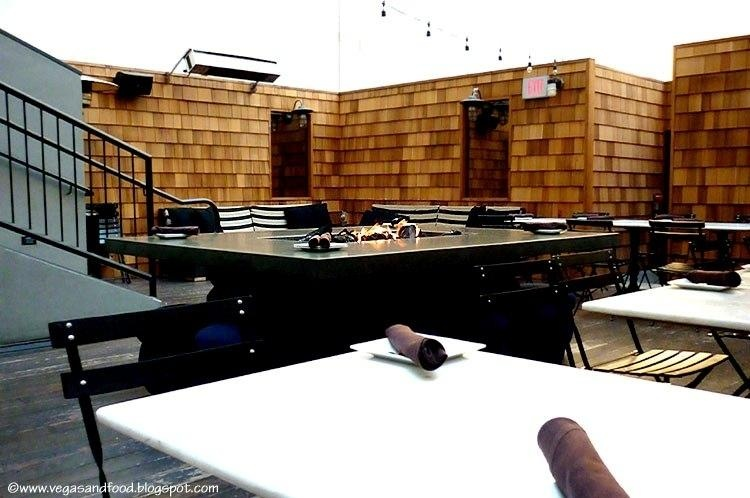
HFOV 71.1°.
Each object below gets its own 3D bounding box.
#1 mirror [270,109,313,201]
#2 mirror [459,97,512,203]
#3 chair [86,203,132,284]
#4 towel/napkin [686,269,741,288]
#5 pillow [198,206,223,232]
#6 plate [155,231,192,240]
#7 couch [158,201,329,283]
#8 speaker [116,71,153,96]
[{"bbox_3d":[-1.993,-2.103,12.017,0.967,2.448,0.561,-3,8,0],"label":"mirror"},{"bbox_3d":[2.773,-2.096,11.421,0.288,2.318,1.342,5,9,40],"label":"mirror"},{"bbox_3d":[-3.313,-0.101,6.490,0.588,1.112,0.662,-4,10,-32],"label":"chair"},{"bbox_3d":[1.639,0.138,2.544,0.203,0.092,0.136,1,10,17],"label":"towel/napkin"},{"bbox_3d":[-2.511,-0.486,8.015,0.302,0.413,0.838,-7,11,-28],"label":"pillow"},{"bbox_3d":[-1.358,-0.090,3.450,0.236,0.040,0.223,-2,9,-2],"label":"plate"},{"bbox_3d":[-2.205,-0.157,8.841,3.170,1.313,1.710,-7,12,-41],"label":"couch"},{"bbox_3d":[-3.666,-2.511,7.987,0.522,0.326,0.501,-7,11,-27],"label":"speaker"}]
